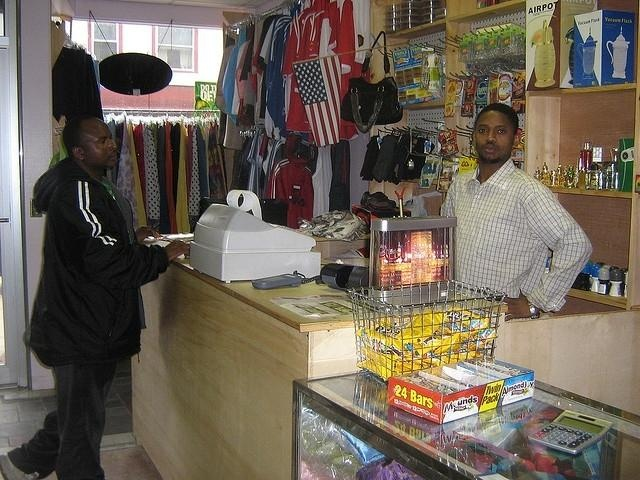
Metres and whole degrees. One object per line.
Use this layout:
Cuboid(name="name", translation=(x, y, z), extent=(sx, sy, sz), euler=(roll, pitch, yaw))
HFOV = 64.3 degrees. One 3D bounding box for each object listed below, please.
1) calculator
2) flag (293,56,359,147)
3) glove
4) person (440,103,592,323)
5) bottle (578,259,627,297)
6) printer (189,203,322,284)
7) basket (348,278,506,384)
Cuboid(name="calculator", translation=(0.553, 0.419, 1.125), extent=(0.215, 0.017, 0.112), euler=(-8, 12, -38))
Cuboid(name="flag", translation=(0.087, -1.239, 4.562), extent=(0.243, 0.711, 0.613), euler=(-4, 12, -32))
Cuboid(name="glove", translation=(0.656, -0.664, 4.184), extent=(0.461, 0.492, 0.182), euler=(6, -1, 17))
Cuboid(name="person", translation=(0.983, -0.191, 2.609), extent=(0.389, 1.004, 0.795), euler=(-3, 9, -14))
Cuboid(name="bottle", translation=(1.526, 0.216, 2.771), extent=(0.160, 0.194, 0.177), euler=(2, 8, -18))
Cuboid(name="printer", translation=(-0.310, -0.022, 2.402), extent=(0.449, 0.358, 0.474), euler=(-1, 11, -29))
Cuboid(name="basket", translation=(0.302, 0.197, 1.430), extent=(0.368, 0.227, 0.260), euler=(-4, 7, -30))
